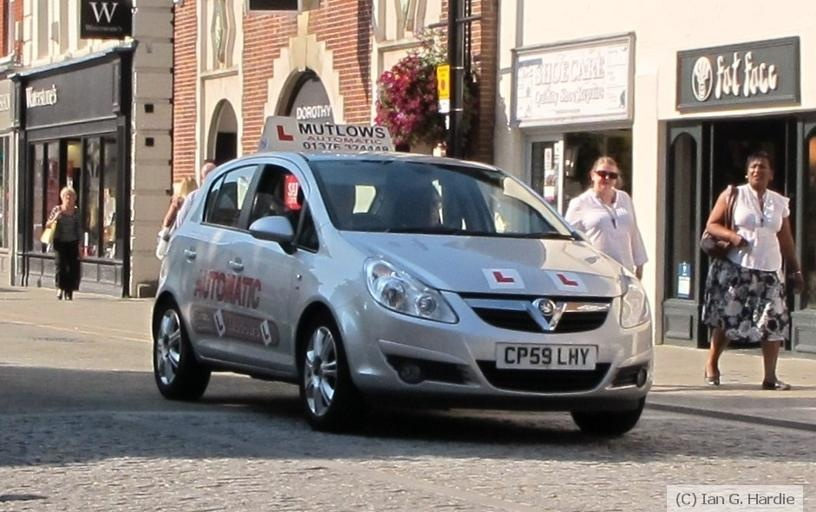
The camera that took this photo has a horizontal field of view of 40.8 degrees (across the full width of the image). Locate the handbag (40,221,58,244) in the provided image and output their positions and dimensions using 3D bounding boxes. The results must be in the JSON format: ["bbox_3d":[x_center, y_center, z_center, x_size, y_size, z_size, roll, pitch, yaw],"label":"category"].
[{"bbox_3d":[-8.055,-0.535,24.689,0.234,0.465,0.437,-2,1,-40],"label":"handbag"}]

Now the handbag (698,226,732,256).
[{"bbox_3d":[3.381,-0.145,12.116,0.239,0.123,0.301,-10,-44,34],"label":"handbag"}]

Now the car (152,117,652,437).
[{"bbox_3d":[-0.176,0.271,9.939,4.295,2.010,2.008,-1,1,37],"label":"car"}]

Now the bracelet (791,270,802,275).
[{"bbox_3d":[4.321,0.177,12.216,0.089,0.053,0.135,1,5,-8],"label":"bracelet"}]

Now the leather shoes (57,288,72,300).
[{"bbox_3d":[-7.634,0.865,24.461,0.187,0.200,0.524,0,-4,-25],"label":"leather shoes"}]

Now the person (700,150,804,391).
[{"bbox_3d":[3.823,0.159,12.199,1.042,2.620,0.690,-1,1,17],"label":"person"}]
